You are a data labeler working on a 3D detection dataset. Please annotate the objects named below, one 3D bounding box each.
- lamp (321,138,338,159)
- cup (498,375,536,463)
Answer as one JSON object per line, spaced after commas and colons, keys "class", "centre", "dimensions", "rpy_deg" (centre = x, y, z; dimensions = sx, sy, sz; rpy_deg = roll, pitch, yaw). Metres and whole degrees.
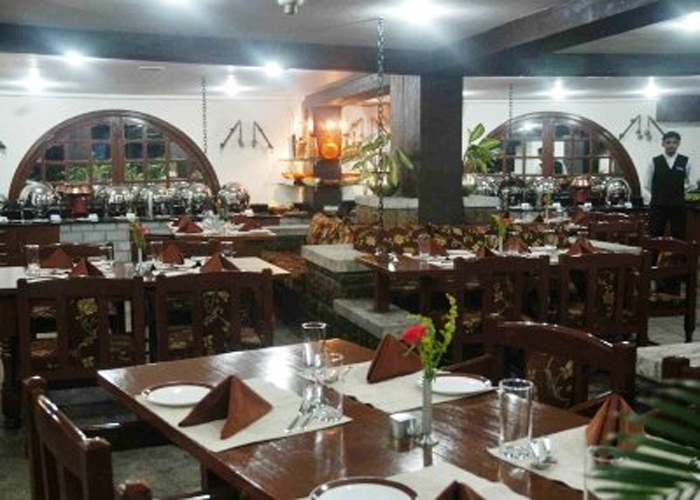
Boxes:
{"class": "lamp", "centre": [-0.344, -1.714, 9.601], "dimensions": [0.301, 0.348, 0.298], "rpy_deg": [5, 15, 8]}
{"class": "cup", "centre": [0.414, 0.417, 1.425], "dimensions": [0.077, 0.182, 0.091], "rpy_deg": [-1, 7, 15]}
